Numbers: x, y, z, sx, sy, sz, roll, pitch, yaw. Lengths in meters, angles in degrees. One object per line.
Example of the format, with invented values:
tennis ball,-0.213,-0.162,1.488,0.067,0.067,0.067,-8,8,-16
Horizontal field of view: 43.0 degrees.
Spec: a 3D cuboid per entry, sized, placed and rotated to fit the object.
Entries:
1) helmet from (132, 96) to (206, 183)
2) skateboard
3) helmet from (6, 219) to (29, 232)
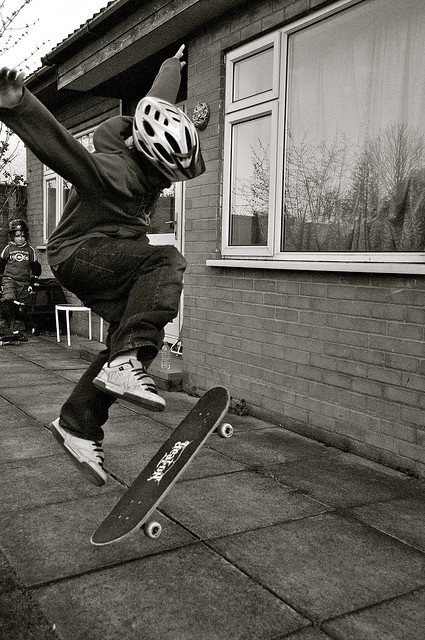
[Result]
helmet,-0.183,-0.715,2.208,0.239,0.373,0.130,-31,2,-12
skateboard,-0.192,0.516,2.038,0.370,0.488,0.614,4,3,45
helmet,-3.544,-1.683,9.758,0.304,0.271,0.249,-19,36,-22
